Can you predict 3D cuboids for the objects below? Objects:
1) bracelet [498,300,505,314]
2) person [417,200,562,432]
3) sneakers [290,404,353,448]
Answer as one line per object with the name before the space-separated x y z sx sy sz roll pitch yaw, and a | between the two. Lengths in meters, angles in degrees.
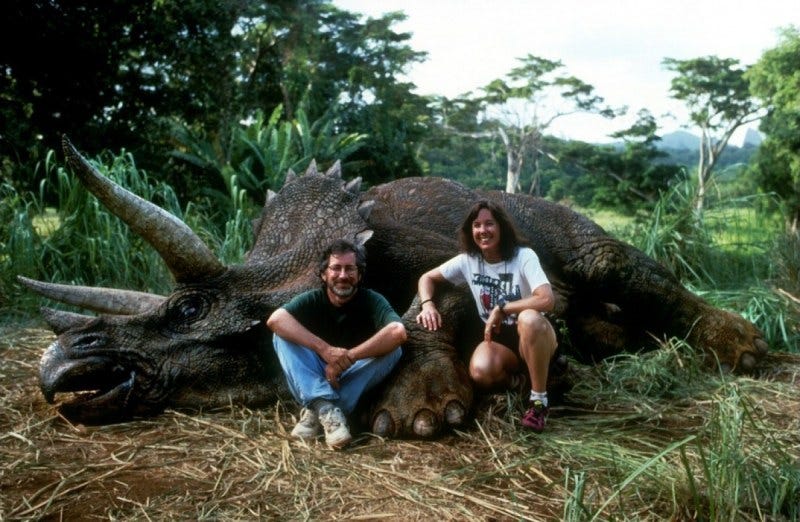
bracelet | 0.836 0.368 5.071 0.036 0.087 0.067 7 -3 -23
person | 0.697 0.367 5.067 1.159 1.665 0.631 7 11 24
sneakers | -0.571 1.214 4.676 0.459 0.263 0.182 6 10 21
